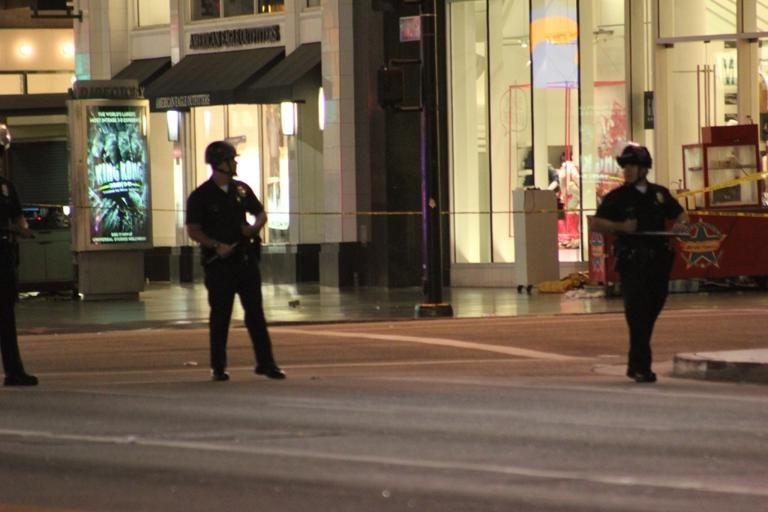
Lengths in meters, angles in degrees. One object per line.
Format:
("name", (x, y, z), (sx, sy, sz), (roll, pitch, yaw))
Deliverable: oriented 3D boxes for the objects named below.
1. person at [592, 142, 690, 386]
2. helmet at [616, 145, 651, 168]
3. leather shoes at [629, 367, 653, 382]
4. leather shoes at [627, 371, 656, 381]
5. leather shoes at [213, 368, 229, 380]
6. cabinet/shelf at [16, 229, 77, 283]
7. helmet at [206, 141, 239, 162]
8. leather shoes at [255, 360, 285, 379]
("person", (2.986, 0.077, 14.328), (1.071, 2.788, 0.654), (-1, 4, 2))
("helmet", (2.949, -1.172, 14.358), (0.269, 0.135, 0.350), (-1, 7, -12))
("leather shoes", (3.008, 1.406, 14.237), (0.293, 0.124, 0.117), (0, 2, -35))
("leather shoes", (3.011, 1.418, 14.248), (0.329, 0.133, 0.224), (0, 5, 10))
("leather shoes", (-1.967, 1.434, 14.604), (0.185, 0.140, 0.115), (-2, 5, -13))
("cabinet/shelf", (-7.488, -0.001, 26.814), (1.245, 1.170, 0.720), (0, -2, -30))
("helmet", (-1.999, -1.263, 14.826), (0.329, 0.202, 0.239), (3, 1, -4))
("leather shoes", (-1.383, 1.386, 14.762), (0.373, 0.167, 0.160), (4, 8, 6))
